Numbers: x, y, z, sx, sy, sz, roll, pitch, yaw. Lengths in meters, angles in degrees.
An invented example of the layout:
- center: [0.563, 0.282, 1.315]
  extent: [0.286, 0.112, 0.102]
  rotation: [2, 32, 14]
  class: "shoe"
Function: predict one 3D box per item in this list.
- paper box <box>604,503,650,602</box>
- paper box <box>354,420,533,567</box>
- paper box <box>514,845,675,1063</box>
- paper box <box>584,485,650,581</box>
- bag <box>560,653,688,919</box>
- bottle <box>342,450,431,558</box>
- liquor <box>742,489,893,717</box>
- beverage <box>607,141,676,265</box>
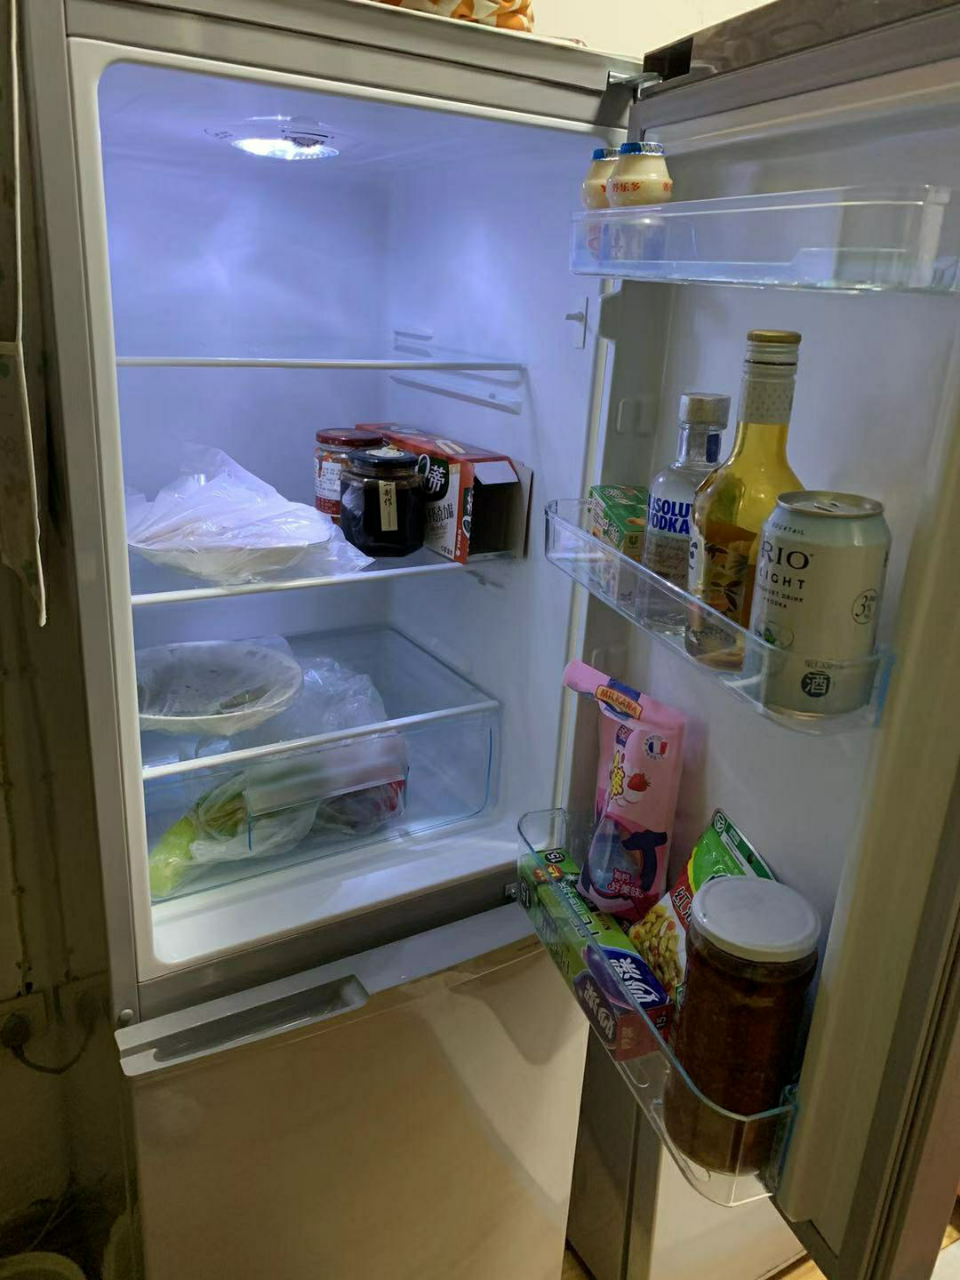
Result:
- center: [0.134, -0.077, 0.884]
  extent: [0.034, 0.044, 0.092]
  rotation: [-1, 44, -8]
  class: "paper box"
- center: [-0.076, -0.214, 1.355]
  extent: [0.102, 0.131, 0.359]
  rotation: [-7, 20, -31]
  class: "paper box"
- center: [0.124, 0.330, 1.054]
  extent: [0.065, 0.059, 0.292]
  rotation: [-13, 17, -11]
  class: "paper box"
- center: [0.129, -0.099, 0.914]
  extent: [0.039, 0.035, 0.096]
  rotation: [-2, 26, -7]
  class: "paper box"
- center: [0.165, 0.190, 1.124]
  extent: [0.079, 0.298, 0.157]
  rotation: [-12, 23, -40]
  class: "bag"
- center: [-0.123, -0.170, 1.220]
  extent: [0.100, 0.136, 0.139]
  rotation: [-2, 16, -9]
  class: "bottle"
- center: [0.235, -0.026, 0.668]
  extent: [0.092, 0.146, 0.094]
  rotation: [-8, 23, -17]
  class: "liquor"
- center: [0.140, -0.380, 0.862]
  extent: [0.058, 0.109, 0.058]
  rotation: [-3, 9, -43]
  class: "beverage"
